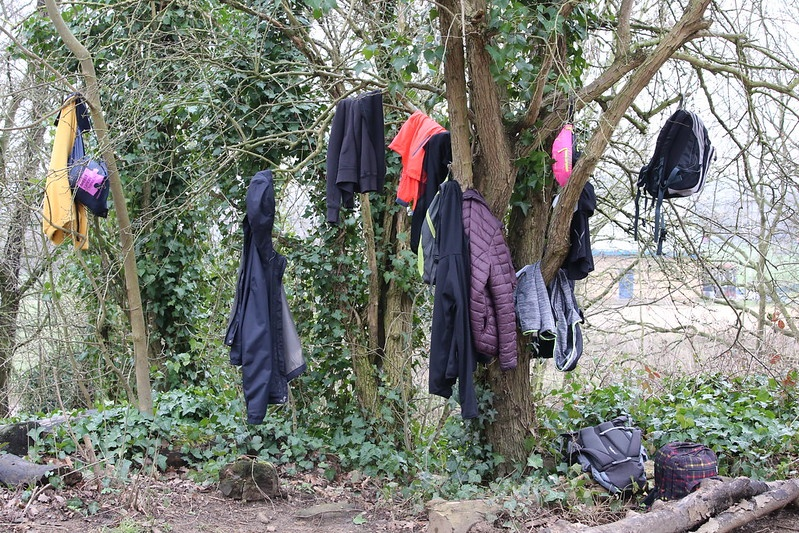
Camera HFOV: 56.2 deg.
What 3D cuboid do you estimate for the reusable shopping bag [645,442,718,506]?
[{"bbox_3d":[3.052,2.185,8.269,0.763,0.759,0.542,4,2,-7],"label":"reusable shopping bag"}]

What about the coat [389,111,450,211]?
[{"bbox_3d":[0.188,-1.252,8.485,0.547,1.055,0.307,-2,-7,21],"label":"coat"}]

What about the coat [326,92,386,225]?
[{"bbox_3d":[-0.495,-1.226,8.407,0.636,1.474,0.256,1,-6,-8],"label":"coat"}]

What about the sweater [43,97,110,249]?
[{"bbox_3d":[-3.622,-1.073,8.413,0.669,1.725,0.609,3,-7,-24],"label":"sweater"}]

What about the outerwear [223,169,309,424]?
[{"bbox_3d":[-1.532,0.361,8.595,0.785,2.863,0.592,4,-7,-30],"label":"outerwear"}]

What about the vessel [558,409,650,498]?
[{"bbox_3d":[2.345,2.084,8.282,0.764,0.719,0.281,-16,-29,-9],"label":"vessel"}]

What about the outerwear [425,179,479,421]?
[{"bbox_3d":[0.528,0.336,8.066,0.581,2.552,0.314,1,-6,0],"label":"outerwear"}]

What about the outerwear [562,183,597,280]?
[{"bbox_3d":[2.103,-0.440,8.651,0.394,1.171,0.368,3,-7,-22],"label":"outerwear"}]

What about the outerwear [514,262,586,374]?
[{"bbox_3d":[1.704,0.564,8.501,0.908,1.189,0.503,3,0,15],"label":"outerwear"}]
